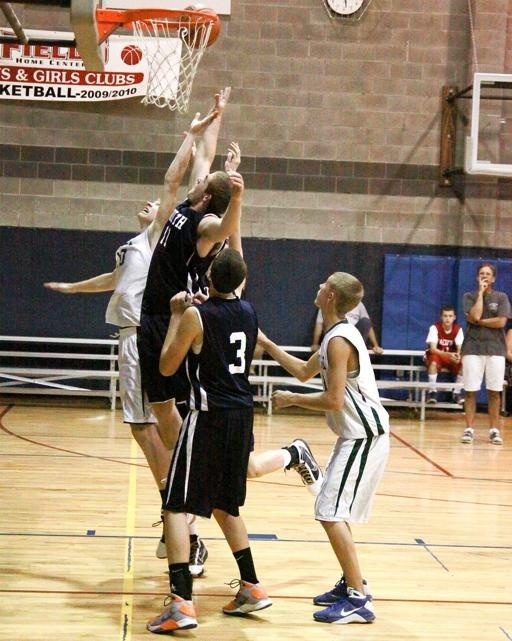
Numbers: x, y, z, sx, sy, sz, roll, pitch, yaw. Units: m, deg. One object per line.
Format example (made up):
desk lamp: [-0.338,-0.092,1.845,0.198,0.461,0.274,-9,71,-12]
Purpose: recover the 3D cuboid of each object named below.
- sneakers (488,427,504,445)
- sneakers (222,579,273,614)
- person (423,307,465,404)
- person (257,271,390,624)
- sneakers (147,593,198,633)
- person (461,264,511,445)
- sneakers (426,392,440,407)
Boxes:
sneakers: [2.369,1.147,10.575,0.130,0.153,0.232,4,6,13]
sneakers: [-0.046,1.576,6.056,0.124,0.190,0.365,-5,-9,-46]
person: [2.128,0.409,12.099,0.454,1.132,0.784,3,5,11]
person: [0.443,0.709,6.178,0.639,1.950,0.529,3,5,7]
sneakers: [-0.437,1.592,5.777,0.357,0.259,0.135,-7,-18,25]
person: [2.267,0.331,10.614,0.454,1.747,0.499,3,5,12]
sneakers: [1.992,0.900,12.138,0.074,0.115,0.241,0,-13,5]
